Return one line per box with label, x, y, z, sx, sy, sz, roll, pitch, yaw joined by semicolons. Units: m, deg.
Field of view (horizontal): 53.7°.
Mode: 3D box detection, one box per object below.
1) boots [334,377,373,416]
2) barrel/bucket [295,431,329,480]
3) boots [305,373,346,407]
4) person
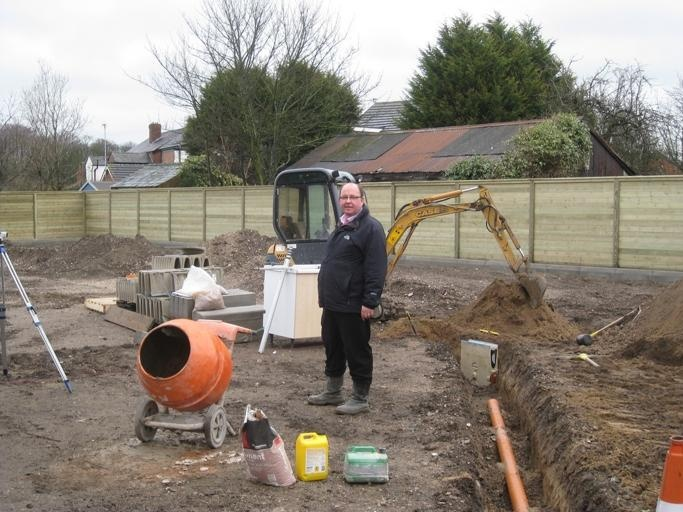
boots;0.123;1.708;8.066;0.477;0.546;0.258;2;-3;-3
barrel/bucket;-0.280;2.001;6.768;0.298;0.468;0.225;0;-2;-14
boots;-0.195;1.677;8.426;0.490;0.562;0.246;5;-3;1
person;0.077;0.493;8.074;0.894;2.702;0.632;1;9;10
